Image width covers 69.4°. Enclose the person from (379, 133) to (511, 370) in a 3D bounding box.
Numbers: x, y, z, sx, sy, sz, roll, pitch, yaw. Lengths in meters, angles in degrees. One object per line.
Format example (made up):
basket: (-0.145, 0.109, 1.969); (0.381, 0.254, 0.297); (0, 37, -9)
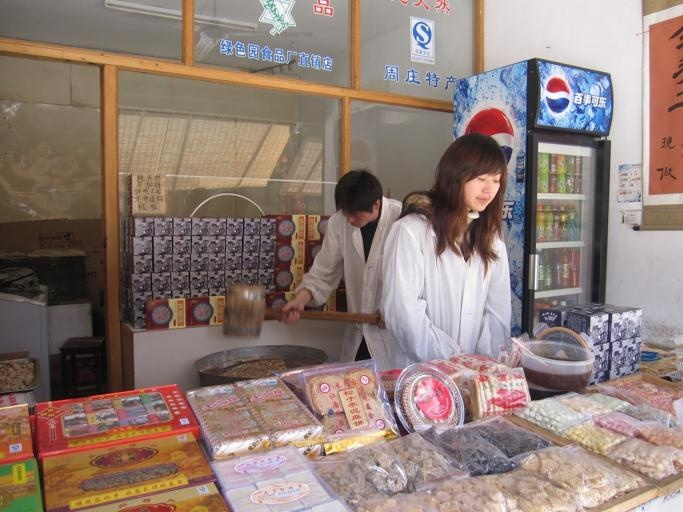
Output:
person: (0.520, 0.004, 2.448); (0.625, 1.148, 0.418); (-1, 3, 14)
